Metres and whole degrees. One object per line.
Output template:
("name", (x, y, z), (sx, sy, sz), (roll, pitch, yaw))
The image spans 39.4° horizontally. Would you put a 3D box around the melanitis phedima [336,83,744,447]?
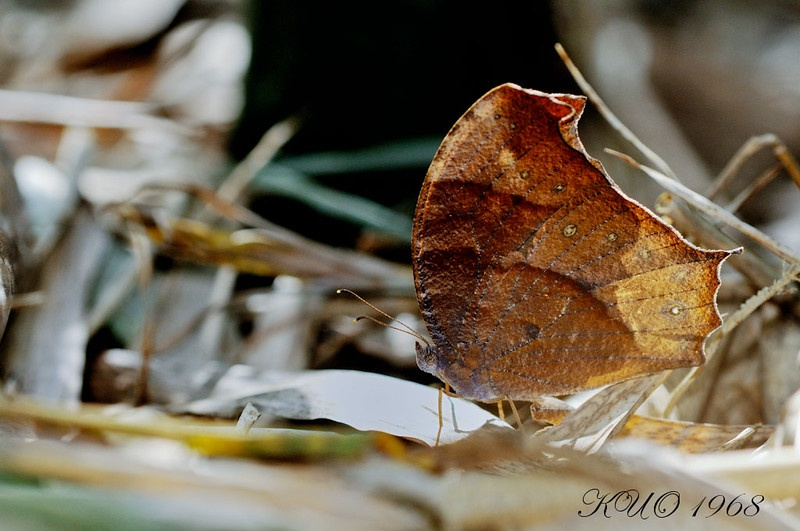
("melanitis phedima", (0.186, -0.018, 1.244), (0.343, 0.281, 0.279), (-1, 62, 1))
